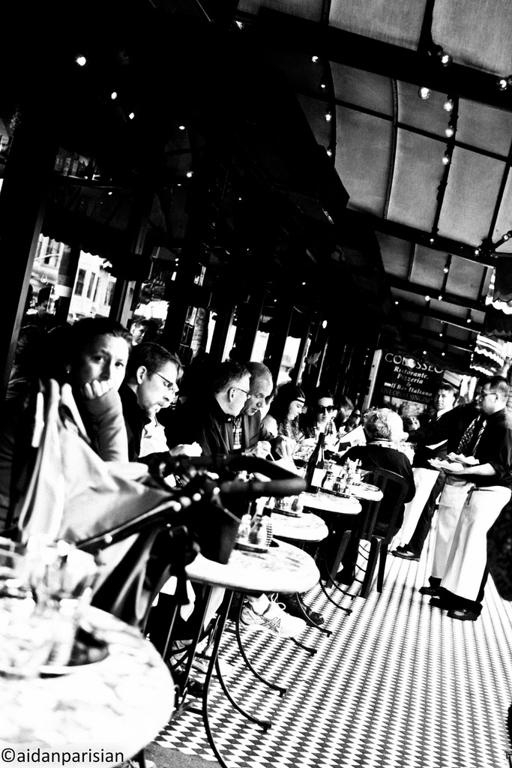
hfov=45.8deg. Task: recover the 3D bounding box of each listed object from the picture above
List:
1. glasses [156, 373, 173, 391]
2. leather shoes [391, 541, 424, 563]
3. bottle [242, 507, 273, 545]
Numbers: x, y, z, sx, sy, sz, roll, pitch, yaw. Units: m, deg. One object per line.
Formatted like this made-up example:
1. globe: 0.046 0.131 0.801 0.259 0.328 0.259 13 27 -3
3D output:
1. glasses: -0.515 -0.028 3.418 0.092 0.026 0.088 60 4 19
2. leather shoes: 2.084 2.327 8.356 0.570 0.256 0.196 22 -23 -29
3. bottle: 0.019 0.651 2.743 0.100 0.288 0.106 3 -6 0
